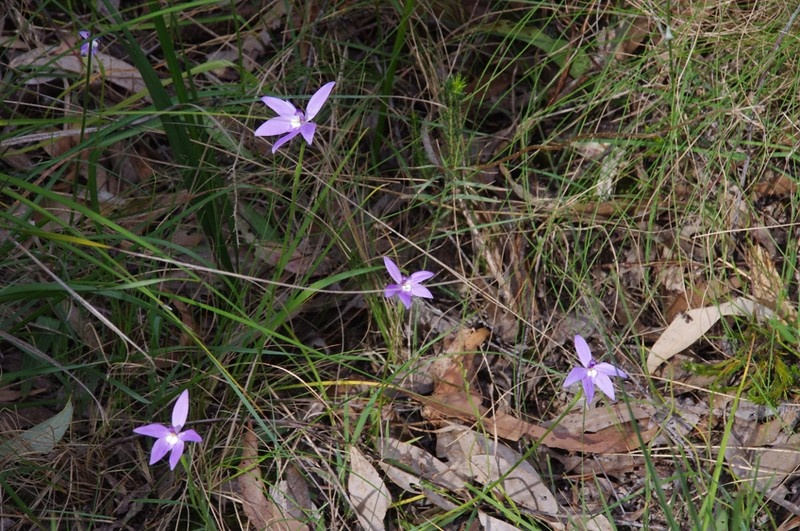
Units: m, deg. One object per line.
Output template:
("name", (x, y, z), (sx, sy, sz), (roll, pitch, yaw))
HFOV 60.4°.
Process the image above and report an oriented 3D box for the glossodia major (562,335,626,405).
("glossodia major", (0.694, 0.389, 2.504), (0.150, 0.084, 0.195), (-2, 21, 34))
